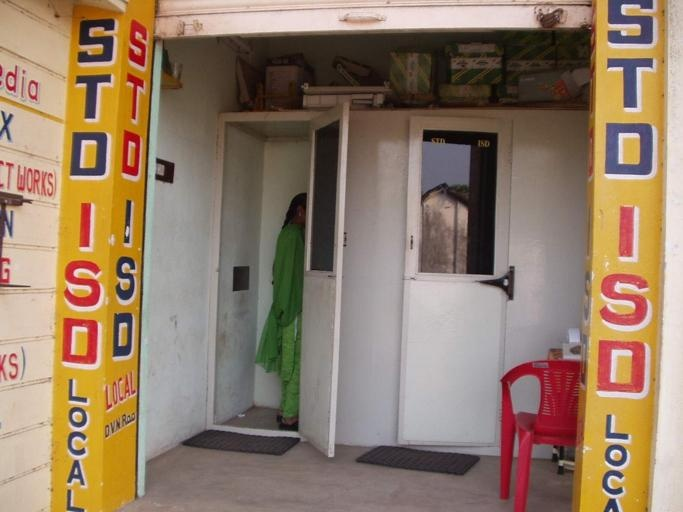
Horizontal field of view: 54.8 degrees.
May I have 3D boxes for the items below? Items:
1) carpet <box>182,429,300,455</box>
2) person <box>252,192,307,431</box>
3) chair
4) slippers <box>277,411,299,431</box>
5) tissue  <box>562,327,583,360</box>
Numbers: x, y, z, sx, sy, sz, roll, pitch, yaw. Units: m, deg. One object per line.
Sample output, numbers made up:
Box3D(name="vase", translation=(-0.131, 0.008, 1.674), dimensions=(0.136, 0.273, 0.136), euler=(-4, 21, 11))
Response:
Box3D(name="carpet", translation=(-0.794, 1.482, 5.261), dimensions=(0.881, 0.030, 0.448), euler=(4, 4, 9))
Box3D(name="person", translation=(-0.421, 0.452, 5.659), dimensions=(0.482, 1.968, 0.398), euler=(4, 4, 31))
Box3D(name="chair", translation=(1.237, 1.130, 4.222), dimensions=(0.457, 1.030, 0.532), euler=(3, 3, 15))
Box3D(name="slippers", translation=(-0.446, 1.367, 5.530), dimensions=(0.107, 0.159, 0.110), euler=(0, 7, 11))
Box3D(name="tissue ", translation=(1.553, 0.607, 4.461), dimensions=(0.121, 0.085, 0.248), euler=(2, 35, 13))
